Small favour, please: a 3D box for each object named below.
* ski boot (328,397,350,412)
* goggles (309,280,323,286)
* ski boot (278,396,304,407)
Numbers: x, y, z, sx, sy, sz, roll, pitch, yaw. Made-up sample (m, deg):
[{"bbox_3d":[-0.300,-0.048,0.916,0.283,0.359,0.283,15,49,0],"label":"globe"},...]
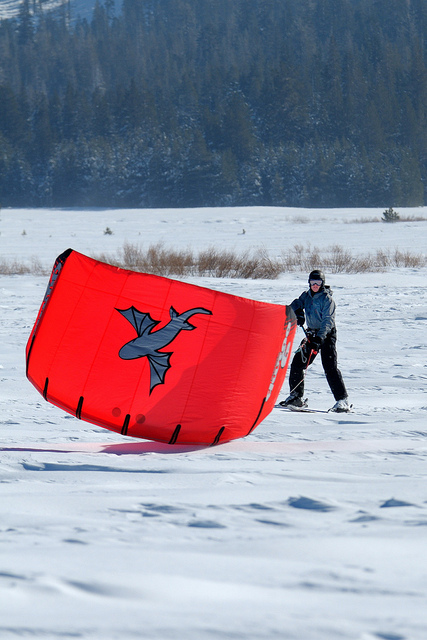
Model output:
[{"bbox_3d":[1.011,0.689,7.847,0.168,0.082,0.242,4,7,8],"label":"ski boot"},{"bbox_3d":[0.846,-0.322,8.084,0.109,0.054,0.100,5,7,14],"label":"goggles"},{"bbox_3d":[0.651,0.674,8.073,0.218,0.090,0.079,3,-2,-10],"label":"ski boot"}]
